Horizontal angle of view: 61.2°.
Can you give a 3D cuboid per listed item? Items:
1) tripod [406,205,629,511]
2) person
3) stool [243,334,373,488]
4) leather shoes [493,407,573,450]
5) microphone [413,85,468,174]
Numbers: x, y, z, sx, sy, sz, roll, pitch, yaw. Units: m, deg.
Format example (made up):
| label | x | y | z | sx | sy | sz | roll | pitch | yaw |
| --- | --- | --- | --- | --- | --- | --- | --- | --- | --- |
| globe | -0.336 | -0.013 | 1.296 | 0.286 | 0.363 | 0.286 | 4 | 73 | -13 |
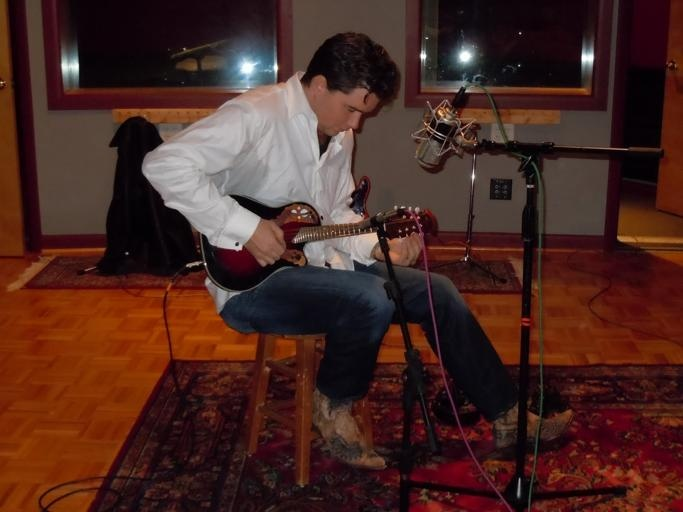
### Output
| label | x | y | z | sx | sy | sz | roll | pitch | yaw |
| --- | --- | --- | --- | --- | --- | --- | --- | --- | --- |
| tripod | 0.501 | 0.363 | 2.070 | 0.757 | 1.113 | 0.543 | -5 | 17 | -15 |
| person | 0.146 | -0.066 | 2.353 | 1.561 | 1.570 | 0.773 | 5 | 17 | 11 |
| stool | -0.236 | 0.531 | 2.324 | 0.375 | 0.443 | 0.384 | 14 | -7 | -41 |
| leather shoes | 0.797 | 0.679 | 2.369 | 0.269 | 0.121 | 0.165 | -6 | 11 | 21 |
| microphone | 0.335 | -0.425 | 1.906 | 0.193 | 0.257 | 0.242 | 3 | 17 | 11 |
